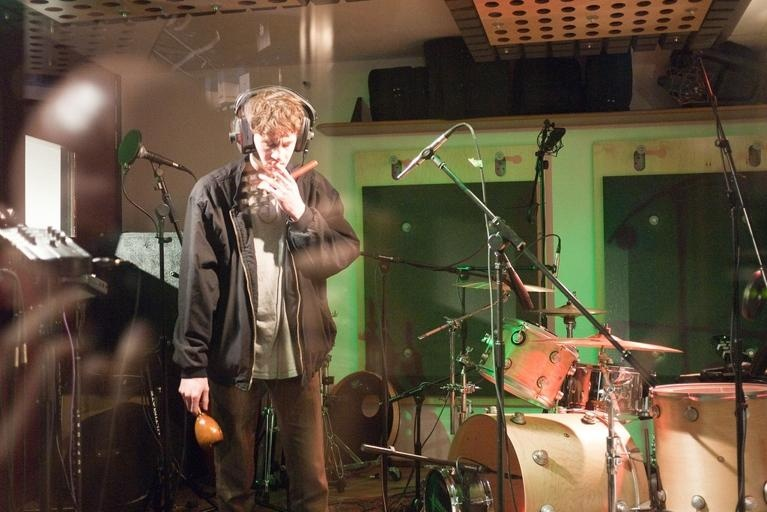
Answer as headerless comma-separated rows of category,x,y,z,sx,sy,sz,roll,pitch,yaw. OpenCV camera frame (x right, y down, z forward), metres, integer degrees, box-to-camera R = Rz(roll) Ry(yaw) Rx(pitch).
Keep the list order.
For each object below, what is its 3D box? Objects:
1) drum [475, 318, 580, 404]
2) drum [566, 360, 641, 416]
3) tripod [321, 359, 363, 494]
drum,0.906,0.635,4.893,0.479,0.545,0.582,-1,1,-4
drum,1.327,0.811,4.666,0.497,0.302,0.318,-1,-5,13
tripod,-0.347,1.205,5.606,0.255,0.847,0.407,1,5,-1
